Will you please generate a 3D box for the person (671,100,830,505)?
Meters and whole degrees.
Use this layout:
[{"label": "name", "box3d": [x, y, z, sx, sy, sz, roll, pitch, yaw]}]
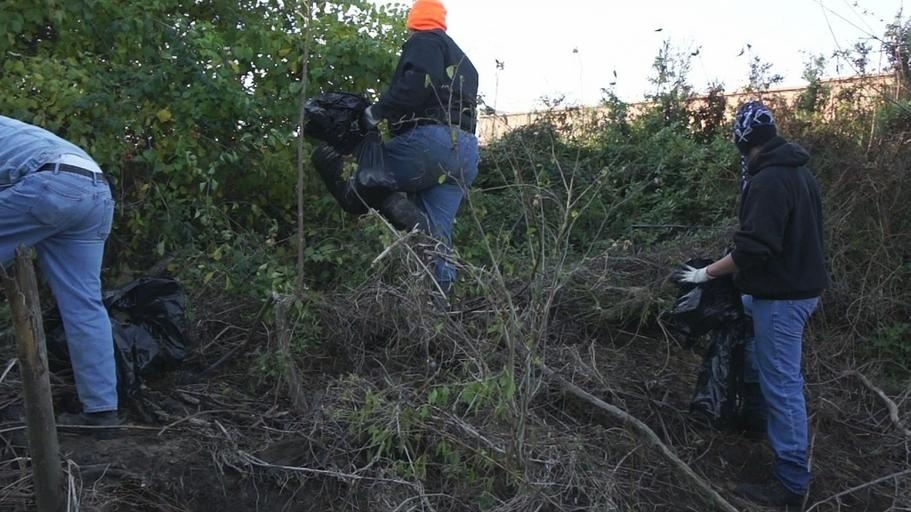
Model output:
[{"label": "person", "box3d": [2.940, 0.413, 8.097, 1.011, 3.782, 0.507, 3, 2, 18]}]
